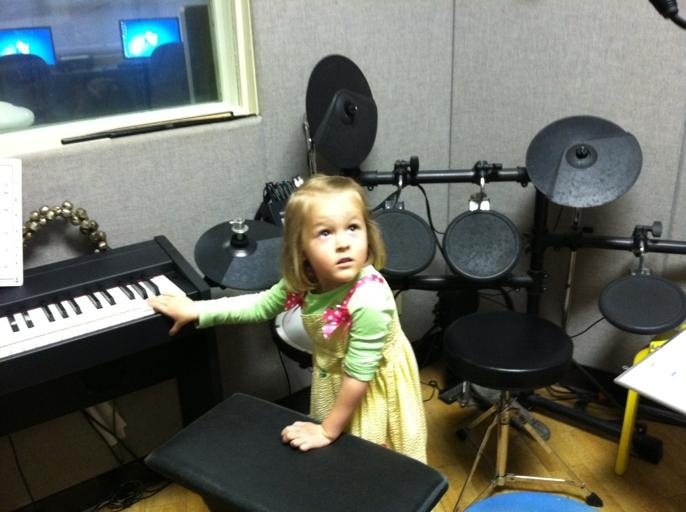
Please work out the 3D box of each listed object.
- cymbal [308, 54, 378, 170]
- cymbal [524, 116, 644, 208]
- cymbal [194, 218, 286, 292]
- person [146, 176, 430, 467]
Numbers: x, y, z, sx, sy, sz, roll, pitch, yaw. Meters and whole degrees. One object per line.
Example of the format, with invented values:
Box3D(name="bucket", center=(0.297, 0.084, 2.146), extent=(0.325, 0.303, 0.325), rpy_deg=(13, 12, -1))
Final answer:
Box3D(name="cymbal", center=(-0.005, -0.544, 2.239), extent=(0.325, 0.486, 0.306), rpy_deg=(-10, 25, -21))
Box3D(name="cymbal", center=(0.916, -0.367, 2.129), extent=(0.410, 0.287, 0.270), rpy_deg=(6, 24, 16))
Box3D(name="cymbal", center=(-0.341, -0.064, 1.882), extent=(0.305, 0.109, 0.317), rpy_deg=(4, -18, -10))
Box3D(name="person", center=(-0.141, 0.329, 1.721), extent=(0.782, 1.084, 0.452), rpy_deg=(-6, 20, -9))
